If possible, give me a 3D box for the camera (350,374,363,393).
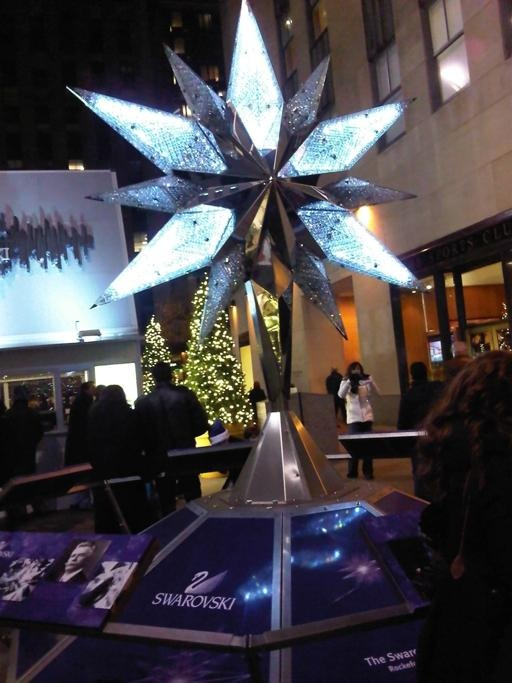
[{"bbox_3d":[1.322,0.557,6.792,0.185,0.259,0.078,-6,-1,-27],"label":"camera"}]

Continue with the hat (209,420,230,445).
[{"bbox_3d":[-0.459,1.106,6.126,0.197,0.277,0.764,-7,0,-7],"label":"hat"}]

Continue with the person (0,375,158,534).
[{"bbox_3d":[-1.095,0.864,3.719,0.563,1.019,1.097,-7,-1,-13],"label":"person"}]

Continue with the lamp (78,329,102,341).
[{"bbox_3d":[-3.078,-0.118,9.496,0.425,0.207,0.313,-6,-1,-19],"label":"lamp"}]
